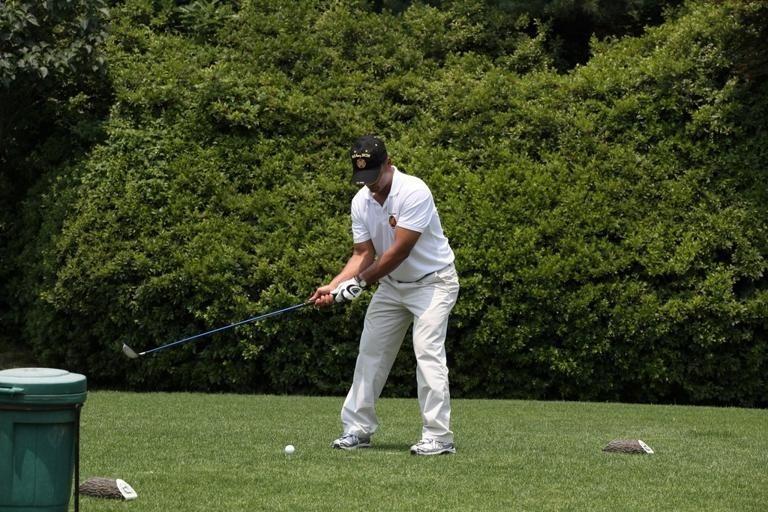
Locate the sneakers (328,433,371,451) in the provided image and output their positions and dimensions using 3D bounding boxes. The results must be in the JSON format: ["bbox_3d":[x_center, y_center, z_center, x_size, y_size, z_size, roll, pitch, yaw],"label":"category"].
[{"bbox_3d":[-0.352,2.113,12.686,0.377,0.194,0.186,7,-5,-20],"label":"sneakers"}]

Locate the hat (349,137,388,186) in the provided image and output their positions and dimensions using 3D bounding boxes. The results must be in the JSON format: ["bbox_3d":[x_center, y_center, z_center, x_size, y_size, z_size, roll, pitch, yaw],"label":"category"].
[{"bbox_3d":[-0.158,-1.064,12.629,0.338,0.565,0.306,2,-29,17],"label":"hat"}]

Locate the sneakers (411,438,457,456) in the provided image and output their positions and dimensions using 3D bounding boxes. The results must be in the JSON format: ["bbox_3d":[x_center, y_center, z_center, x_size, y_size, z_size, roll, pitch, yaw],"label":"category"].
[{"bbox_3d":[0.546,2.123,12.479,0.437,0.215,0.186,4,-4,-15],"label":"sneakers"}]
